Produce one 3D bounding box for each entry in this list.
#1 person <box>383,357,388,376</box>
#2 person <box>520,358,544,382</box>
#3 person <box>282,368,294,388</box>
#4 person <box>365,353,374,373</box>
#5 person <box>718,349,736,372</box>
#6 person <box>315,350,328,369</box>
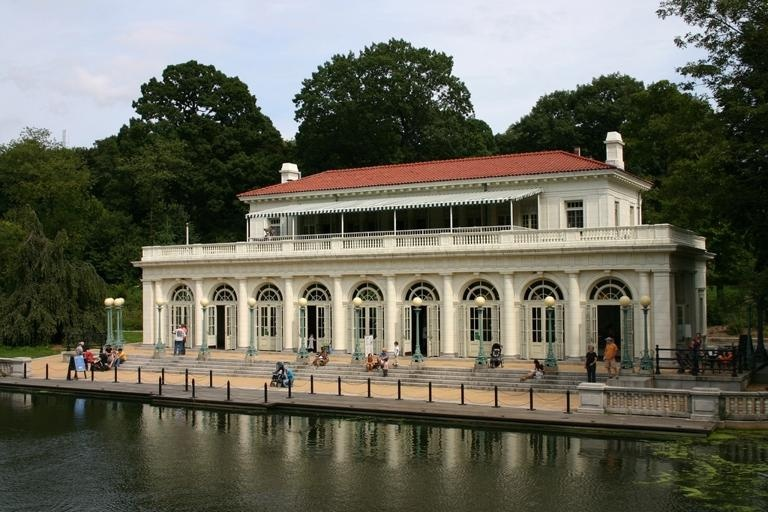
[{"bbox_3d":[0.132,6.715,70.922,0.325,1.116,0.706,-2,0,0],"label":"person"},{"bbox_3d":[8.871,6.780,68.942,1.909,0.983,0.812,0,-3,-42],"label":"person"},{"bbox_3d":[-5.322,7.043,67.278,0.785,1.073,1.064,0,-5,-3],"label":"person"},{"bbox_3d":[-0.852,6.566,71.881,0.476,1.008,0.847,-2,0,0],"label":"person"},{"bbox_3d":[19.644,5.988,66.803,0.784,1.184,1.620,-2,0,21],"label":"person"},{"bbox_3d":[-3.883,6.396,72.996,0.716,1.001,1.122,-2,0,19],"label":"person"}]
